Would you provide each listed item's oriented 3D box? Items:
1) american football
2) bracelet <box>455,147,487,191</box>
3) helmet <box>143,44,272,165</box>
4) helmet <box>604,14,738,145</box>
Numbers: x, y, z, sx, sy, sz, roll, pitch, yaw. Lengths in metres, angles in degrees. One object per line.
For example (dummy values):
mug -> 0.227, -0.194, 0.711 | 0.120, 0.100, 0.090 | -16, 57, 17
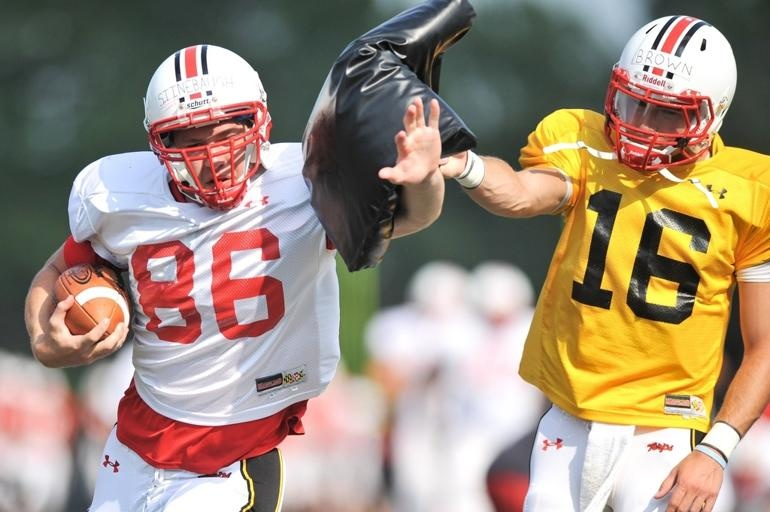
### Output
american football -> -1.196, 0.170, 4.454 | 0.181, 0.253, 0.306 | -48, 33, -3
bracelet -> 0.354, -0.357, 4.392 | 0.107, 0.136, 0.138 | 19, -13, -17
helmet -> -0.743, -0.665, 4.669 | 0.414, 0.438, 0.531 | -24, 2, 6
helmet -> 1.213, -0.821, 4.512 | 0.411, 0.433, 0.527 | 26, 39, 26
